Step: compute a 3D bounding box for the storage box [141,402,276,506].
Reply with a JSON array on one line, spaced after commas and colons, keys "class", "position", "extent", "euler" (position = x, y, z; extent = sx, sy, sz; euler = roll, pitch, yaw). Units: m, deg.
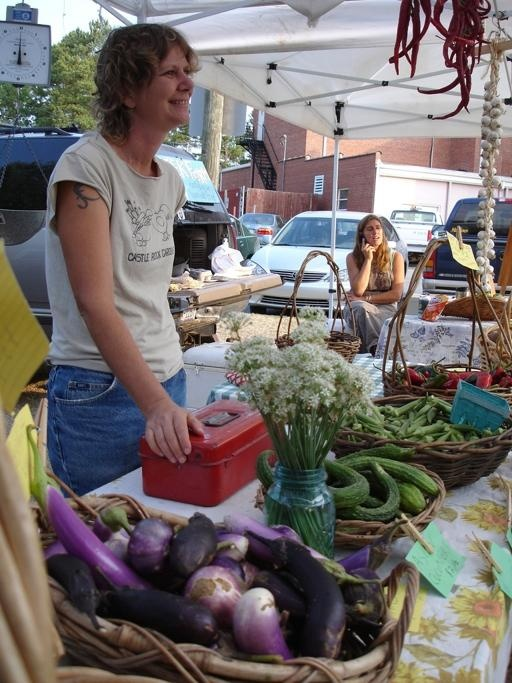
[{"class": "storage box", "position": [-0.103, 0.269, 1.433], "extent": [0.225, 0.134, 0.408], "euler": [5, 9, 22]}]

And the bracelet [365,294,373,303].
[{"class": "bracelet", "position": [1.069, -0.408, 5.255], "extent": [0.024, 0.067, 0.075], "euler": [9, 7, -12]}]

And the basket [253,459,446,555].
[{"class": "basket", "position": [0.183, 0.307, 1.253], "extent": [0.291, 0.130, 0.403], "euler": [4, 8, 40]}]

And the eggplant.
[{"class": "eggplant", "position": [-0.073, 0.252, 0.742], "extent": [0.437, 0.147, 0.216], "euler": [4, 9, 24]}]

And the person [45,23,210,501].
[{"class": "person", "position": [-0.362, -0.180, 1.632], "extent": [0.617, 1.261, 0.515], "euler": [2, 3, 24]}]

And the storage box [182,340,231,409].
[{"class": "storage box", "position": [-0.284, 0.157, 3.111], "extent": [0.386, 0.363, 0.370], "euler": [-2, 10, -5]}]
